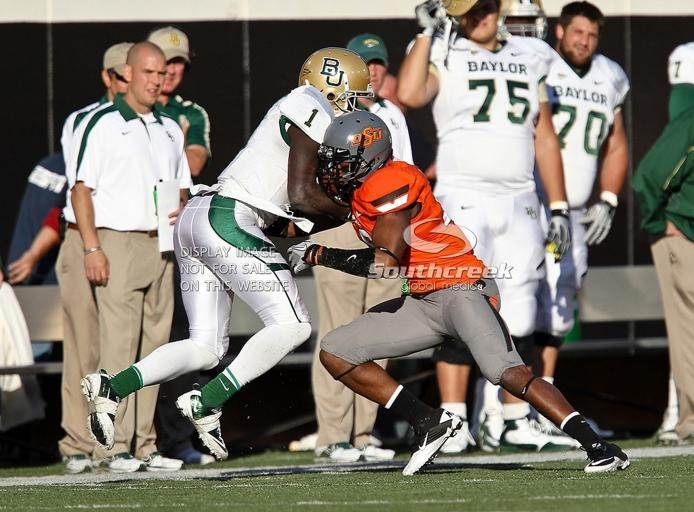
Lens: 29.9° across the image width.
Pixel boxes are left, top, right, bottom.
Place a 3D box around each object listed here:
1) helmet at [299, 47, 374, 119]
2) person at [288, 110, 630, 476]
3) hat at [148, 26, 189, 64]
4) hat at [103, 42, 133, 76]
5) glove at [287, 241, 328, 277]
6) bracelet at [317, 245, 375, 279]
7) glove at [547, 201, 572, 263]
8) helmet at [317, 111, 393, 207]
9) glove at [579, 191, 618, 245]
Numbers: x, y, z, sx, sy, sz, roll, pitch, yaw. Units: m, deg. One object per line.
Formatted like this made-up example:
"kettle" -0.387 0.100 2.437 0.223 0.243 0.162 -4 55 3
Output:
"helmet" -0.067 -0.953 7.110 0.385 0.349 0.308 0 17 -1
"person" 0.426 0.221 6.715 1.447 1.888 0.443 2 8 3
"hat" -1.108 -1.321 8.243 0.184 0.170 0.288 17 18 -35
"hat" -1.366 -1.207 7.941 0.219 0.134 0.163 5 17 40
"glove" -0.208 0.020 6.703 0.164 0.074 0.158 -17 41 19
"bracelet" 0.006 0.018 6.596 0.215 0.095 0.144 11 10 15
"glove" 1.244 -0.137 7.691 0.172 0.324 0.097 2 -16 -1
"helmet" 0.036 -0.494 6.715 0.379 0.491 0.183 1 8 0
"glove" 1.529 -0.232 8.013 0.203 0.352 0.099 25 -24 -5
